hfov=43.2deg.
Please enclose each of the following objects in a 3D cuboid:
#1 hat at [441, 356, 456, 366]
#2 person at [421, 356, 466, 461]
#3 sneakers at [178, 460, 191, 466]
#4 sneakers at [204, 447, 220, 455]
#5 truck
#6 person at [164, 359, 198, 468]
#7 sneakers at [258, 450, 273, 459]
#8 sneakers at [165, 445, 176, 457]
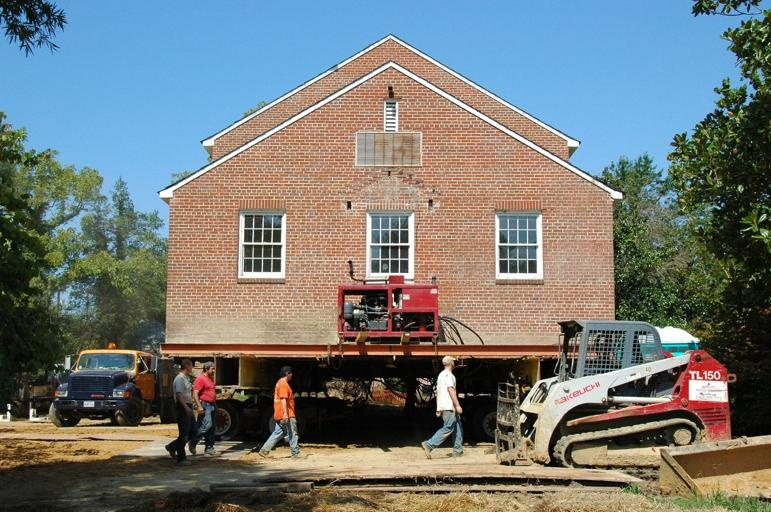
[{"bbox_3d":[1.715,2.983,27.601,0.306,0.257,0.239,-10,-12,5],"label":"hat"},{"bbox_3d":[1.640,4.308,27.705,1.026,2.891,1.085,-3,-10,15],"label":"person"},{"bbox_3d":[-5.616,5.742,26.857,0.387,0.170,0.147,-4,-6,5],"label":"sneakers"},{"bbox_3d":[-5.151,5.719,28.265,0.400,0.172,0.161,-10,-13,43],"label":"sneakers"},{"bbox_3d":[-10.084,4.698,35.304,2.322,1.938,3.944,-1,-14,1],"label":"truck"},{"bbox_3d":[-5.817,4.373,27.508,0.679,2.913,1.031,1,-9,-9],"label":"person"},{"bbox_3d":[-3.556,5.708,27.924,0.473,0.222,0.153,10,-5,-19],"label":"sneakers"},{"bbox_3d":[-6.091,5.502,27.289,0.192,0.459,0.144,-18,24,1],"label":"sneakers"}]
